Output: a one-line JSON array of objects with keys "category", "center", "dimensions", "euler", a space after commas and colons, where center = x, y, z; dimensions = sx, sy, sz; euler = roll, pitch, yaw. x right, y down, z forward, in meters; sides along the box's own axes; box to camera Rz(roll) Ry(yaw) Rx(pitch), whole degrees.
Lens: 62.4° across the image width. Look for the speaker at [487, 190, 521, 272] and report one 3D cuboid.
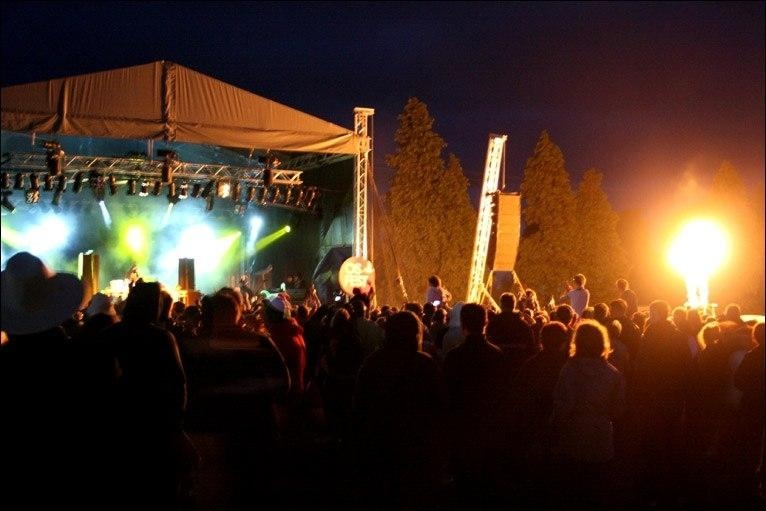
[{"category": "speaker", "center": [2.366, -0.510, 12.308], "dimensions": [0.464, 1.321, 1.363], "euler": [5, 17, 6]}]
